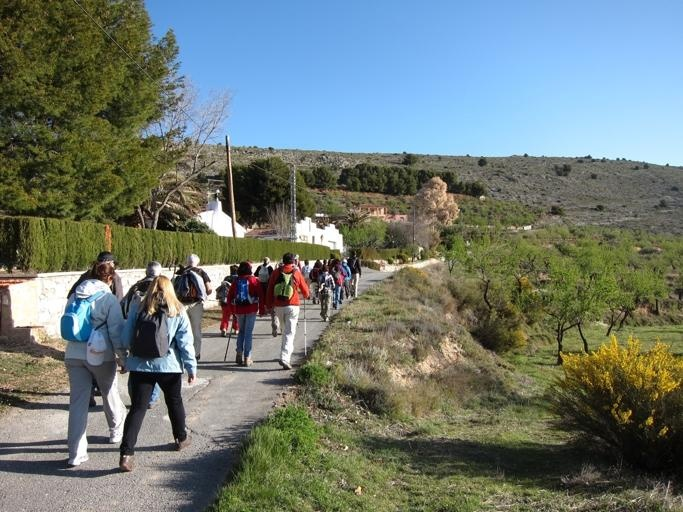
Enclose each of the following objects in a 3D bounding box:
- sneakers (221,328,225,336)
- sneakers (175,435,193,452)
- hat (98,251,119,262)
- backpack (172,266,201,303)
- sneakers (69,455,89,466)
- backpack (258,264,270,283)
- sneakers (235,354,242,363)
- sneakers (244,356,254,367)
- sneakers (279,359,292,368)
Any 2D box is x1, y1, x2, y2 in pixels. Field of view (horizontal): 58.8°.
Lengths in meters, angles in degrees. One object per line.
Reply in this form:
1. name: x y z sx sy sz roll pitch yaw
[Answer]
1. sneakers: -3.642 2.345 18.577 0.087 0.305 0.127 0 41 -3
2. sneakers: -2.781 3.285 10.707 0.134 0.171 0.356 -1 15 9
3. hat: -5.197 0.007 13.486 0.261 0.333 0.303 -5 -6 2
4. backpack: -3.365 0.651 13.216 0.604 0.775 0.370 -1 -8 -7
5. sneakers: -4.389 3.413 10.106 0.132 0.184 0.366 0 -13 0
6. backpack: -2.242 0.551 17.776 0.349 0.569 0.504 -1 -25 6
7. sneakers: -2.536 2.557 14.971 0.094 0.266 0.101 -4 16 -9
8. sneakers: -2.337 2.664 15.200 0.158 0.246 0.524 0 -11 -3
9. sneakers: -1.347 2.627 14.604 0.139 0.371 0.169 -25 29 26
